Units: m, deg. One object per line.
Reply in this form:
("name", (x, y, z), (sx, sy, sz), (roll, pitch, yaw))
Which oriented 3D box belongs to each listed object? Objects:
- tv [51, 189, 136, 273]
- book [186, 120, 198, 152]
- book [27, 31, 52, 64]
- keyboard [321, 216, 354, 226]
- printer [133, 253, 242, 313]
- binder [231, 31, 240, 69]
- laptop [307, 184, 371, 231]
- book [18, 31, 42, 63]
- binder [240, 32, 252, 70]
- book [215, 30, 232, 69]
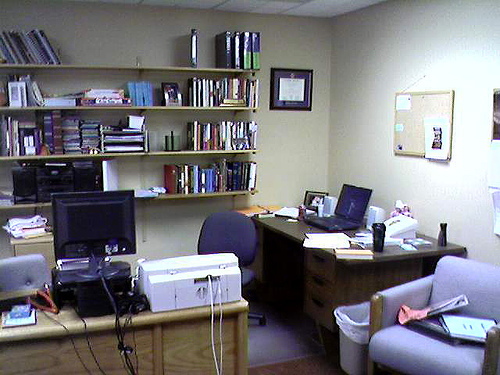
("tv", (-0.943, 0.264, 2.497), (0.501, 0.525, 0.186), (-2, 13, -13))
("book", (-0.615, -0.549, 4.362), (0.106, 0.309, 0.271), (-3, 13, -14))
("book", (-1.927, -1.277, 3.789), (0.058, 0.248, 0.242), (-30, 12, -4))
("keyboard", (0.855, 0.331, 4.075), (0.204, 0.034, 0.395), (-3, 13, -14))
("printer", (-0.379, 0.597, 2.649), (0.621, 0.221, 0.491), (-2, -1, -19))
("binder", (-0.145, -1.405, 4.248), (0.095, 0.359, 0.074), (-2, 12, -6))
("laptop", (0.894, 0.223, 4.105), (0.463, 0.380, 0.526), (-3, 8, -21))
("book", (-1.996, -1.278, 3.761), (0.176, 0.277, 0.035), (1, 12, 5))
("binder", (-0.046, -1.421, 4.268), (0.128, 0.332, 0.336), (0, 9, -7))
("book", (-0.273, -1.426, 4.278), (0.131, 0.399, 0.406), (-2, 11, -17))
